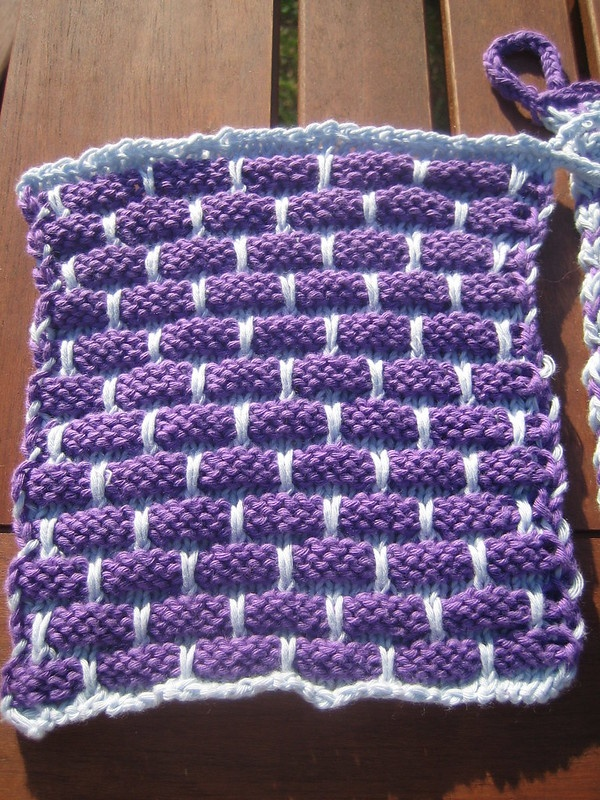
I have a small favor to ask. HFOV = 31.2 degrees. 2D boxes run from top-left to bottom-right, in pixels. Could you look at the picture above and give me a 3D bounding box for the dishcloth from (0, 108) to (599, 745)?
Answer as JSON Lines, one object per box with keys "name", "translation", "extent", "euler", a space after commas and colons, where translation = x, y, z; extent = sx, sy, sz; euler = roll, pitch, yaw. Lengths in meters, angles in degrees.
{"name": "dishcloth", "translation": [0.004, 0.057, 1.360], "extent": [0.737, 0.084, 0.772], "euler": [-1, 79, -2]}
